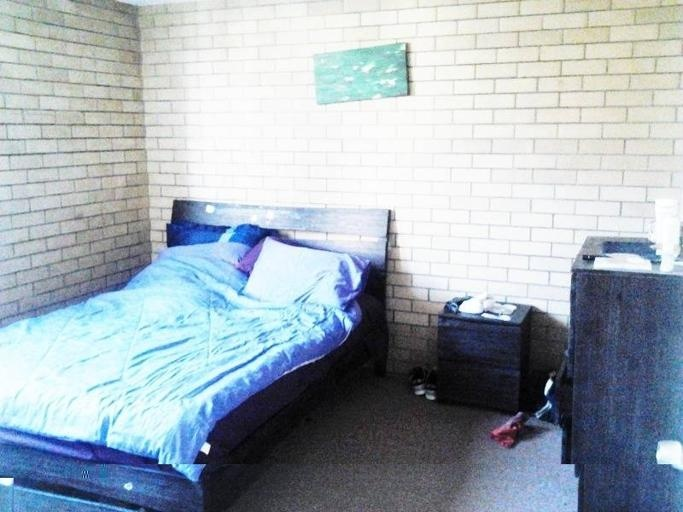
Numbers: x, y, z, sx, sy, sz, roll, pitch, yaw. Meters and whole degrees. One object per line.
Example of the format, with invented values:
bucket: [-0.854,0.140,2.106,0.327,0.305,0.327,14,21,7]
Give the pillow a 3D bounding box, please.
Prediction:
pillow: [-0.548,0.117,4.011,1.292,0.234,0.637,10,46,17]

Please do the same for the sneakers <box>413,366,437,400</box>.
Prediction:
sneakers: [0.576,0.880,3.849,0.099,0.103,0.261,-5,13,5]
